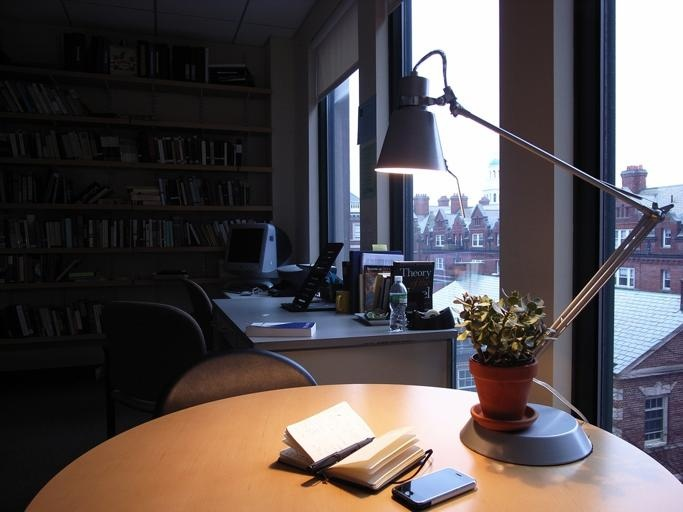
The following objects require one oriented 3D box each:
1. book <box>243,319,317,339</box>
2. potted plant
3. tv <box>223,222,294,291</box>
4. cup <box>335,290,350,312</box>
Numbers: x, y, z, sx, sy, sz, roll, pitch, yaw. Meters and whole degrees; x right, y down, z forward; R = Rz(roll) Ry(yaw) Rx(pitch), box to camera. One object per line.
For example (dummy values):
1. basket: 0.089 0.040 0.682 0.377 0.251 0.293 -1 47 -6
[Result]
1. book: -0.271 0.318 2.436 0.309 0.047 0.205 -1 10 -3
2. potted plant: 0.354 0.233 1.337 0.302 0.387 0.292 1 -6 -11
3. tv: -0.764 -0.008 4.515 0.654 0.663 0.494 -5 -4 43
4. cup: 0.009 0.246 2.953 0.067 0.117 0.114 2 4 26
